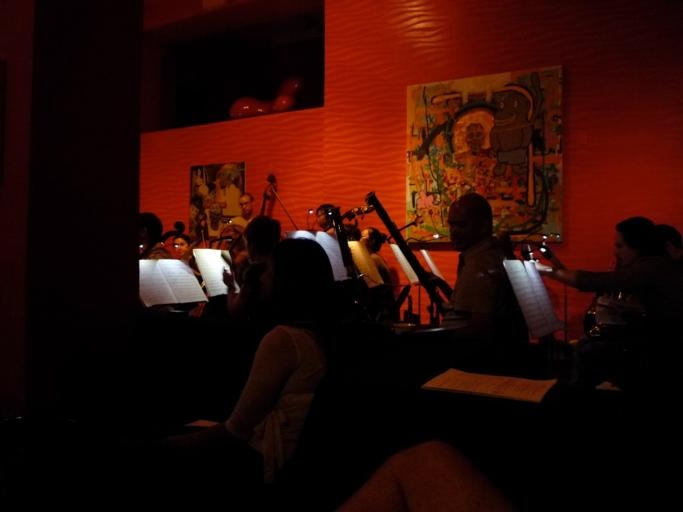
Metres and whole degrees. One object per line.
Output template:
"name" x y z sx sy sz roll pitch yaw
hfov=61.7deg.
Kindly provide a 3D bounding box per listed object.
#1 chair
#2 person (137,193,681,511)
"chair" 0.164 0.343 1.592 1.355 0.784 0.580 -3 6 30
"person" -0.048 0.340 1.693 0.605 0.623 1.142 10 -20 -43
